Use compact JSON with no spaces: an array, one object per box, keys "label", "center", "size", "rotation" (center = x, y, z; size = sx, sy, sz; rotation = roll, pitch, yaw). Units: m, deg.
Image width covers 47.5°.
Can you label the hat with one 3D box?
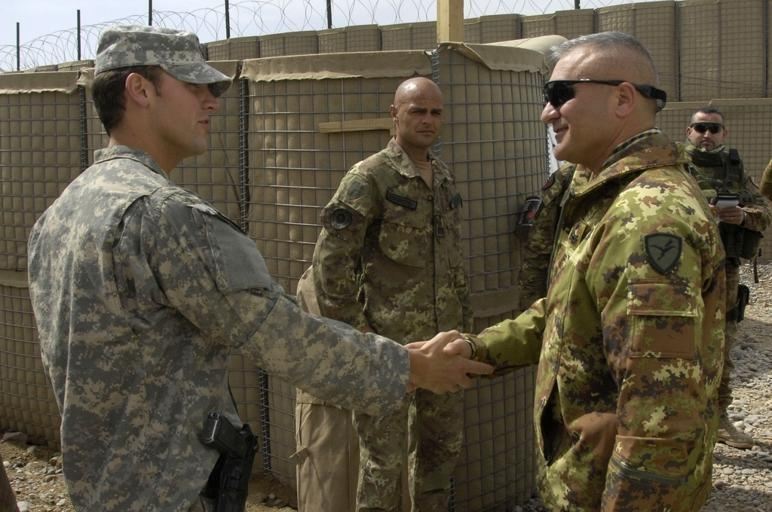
[{"label":"hat","center":[-1.093,-0.941,4.317],"size":[0.649,0.324,0.400],"rotation":[-1,1,-15]}]

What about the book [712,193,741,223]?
[{"label":"book","center":[2.726,-0.386,7.016],"size":[0.216,0.217,0.051],"rotation":[4,24,4]}]
